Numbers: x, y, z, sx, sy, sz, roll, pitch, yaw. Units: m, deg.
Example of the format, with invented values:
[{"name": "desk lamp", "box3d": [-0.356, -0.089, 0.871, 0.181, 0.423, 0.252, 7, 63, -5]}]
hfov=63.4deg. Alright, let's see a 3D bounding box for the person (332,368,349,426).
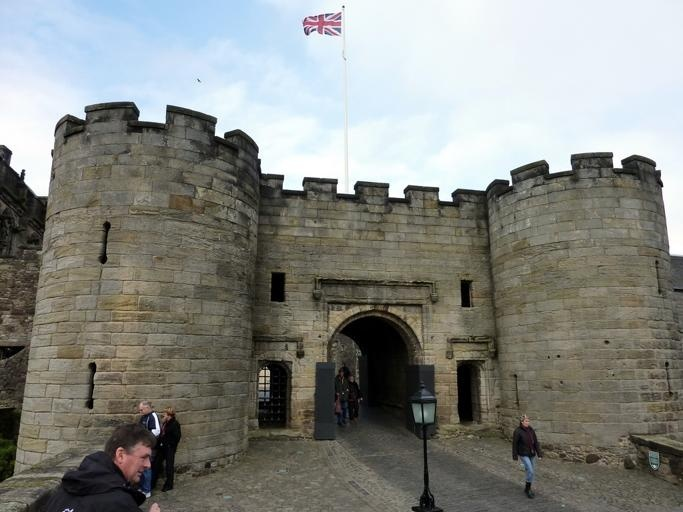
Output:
[{"name": "person", "box3d": [0.015, 4.719, 18.699, 0.450, 1.564, 1.067, 4, -1, 4]}]
